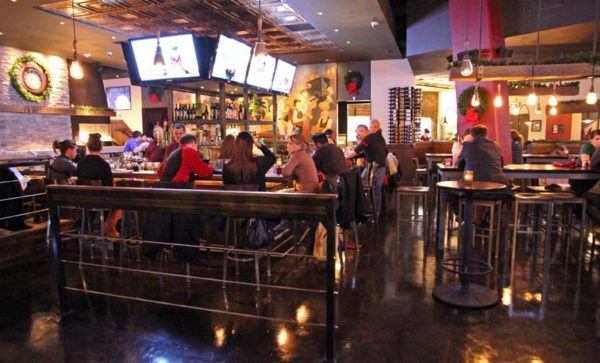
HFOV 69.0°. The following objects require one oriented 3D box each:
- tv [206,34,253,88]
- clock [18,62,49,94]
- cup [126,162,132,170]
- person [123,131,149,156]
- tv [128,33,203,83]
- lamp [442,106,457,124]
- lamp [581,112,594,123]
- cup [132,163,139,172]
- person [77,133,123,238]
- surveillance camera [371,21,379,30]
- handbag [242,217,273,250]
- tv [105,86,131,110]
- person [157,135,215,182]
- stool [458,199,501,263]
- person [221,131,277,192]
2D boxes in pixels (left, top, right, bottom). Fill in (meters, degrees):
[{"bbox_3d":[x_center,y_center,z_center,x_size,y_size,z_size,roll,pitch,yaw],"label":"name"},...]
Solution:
[{"bbox_3d":[-1.608,-2.757,10.095,0.135,1.100,1.597,19,10,19],"label":"tv"},{"bbox_3d":[-8.499,-3.272,13.813,0.214,1.047,0.861,4,9,25],"label":"clock"},{"bbox_3d":[-3.569,-0.330,9.000,0.151,0.143,0.266,-4,-1,-24],"label":"cup"},{"bbox_3d":[-4.388,-1.164,11.723,0.385,0.352,0.704,-26,-14,-18],"label":"person"},{"bbox_3d":[-2.977,-2.734,9.793,1.872,1.027,0.189,2,13,22],"label":"tv"},{"bbox_3d":[6.675,-2.951,19.288,0.422,0.701,1.144,2,9,13],"label":"lamp"},{"bbox_3d":[11.059,-2.464,16.664,0.446,0.472,0.445,8,12,33],"label":"lamp"},{"bbox_3d":[-3.353,-0.298,8.829,0.136,0.149,0.307,-3,9,-21],"label":"cup"},{"bbox_3d":[-3.709,0.091,7.975,0.683,1.916,0.887,-4,9,-25],"label":"person"},{"bbox_3d":[1.936,-4.050,11.281,0.157,0.085,0.207,-2,7,-5],"label":"surveillance camera"},{"bbox_3d":[-0.677,0.740,6.949,0.533,0.626,0.365,8,34,9],"label":"handbag"},{"bbox_3d":[-8.689,-3.973,20.721,1.413,1.123,0.246,3,9,22],"label":"tv"},{"bbox_3d":[-2.129,-0.414,8.140,0.659,0.980,0.590,19,28,17],"label":"person"},{"bbox_3d":[3.309,0.888,8.113,0.783,1.062,0.770,-5,-1,-22],"label":"stool"},{"bbox_3d":[-0.862,-0.339,7.136,0.854,0.966,0.509,-2,8,-10],"label":"person"}]
